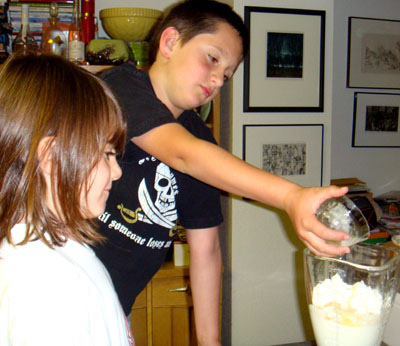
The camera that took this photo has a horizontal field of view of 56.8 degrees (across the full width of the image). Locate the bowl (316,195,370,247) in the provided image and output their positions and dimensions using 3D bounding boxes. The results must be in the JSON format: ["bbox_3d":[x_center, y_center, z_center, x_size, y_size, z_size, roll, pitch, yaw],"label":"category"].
[{"bbox_3d":[0.268,0.091,0.693,0.130,0.100,0.038,0,7,-34],"label":"bowl"}]

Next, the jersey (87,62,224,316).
[{"bbox_3d":[-0.102,0.070,1.110,0.284,0.752,0.434,7,7,34],"label":"jersey"}]

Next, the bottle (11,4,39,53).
[{"bbox_3d":[-0.841,-0.697,1.780,0.121,0.279,0.389,1,7,-25],"label":"bottle"}]

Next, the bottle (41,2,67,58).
[{"bbox_3d":[-0.718,-0.700,1.813,0.114,0.274,0.283,1,7,-24],"label":"bottle"}]
